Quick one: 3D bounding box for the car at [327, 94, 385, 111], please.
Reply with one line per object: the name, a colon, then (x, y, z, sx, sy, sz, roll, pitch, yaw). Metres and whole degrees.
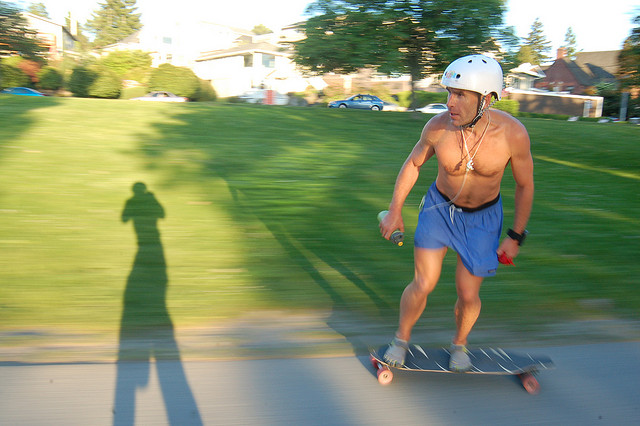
car: (2.588, -7.035, 38.760, 3.404, 0.930, 1.926, 0, 16, 3)

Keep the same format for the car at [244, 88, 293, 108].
car: (-3.104, -7.188, 37.664, 2.977, 0.821, 1.881, 12, 20, 37)

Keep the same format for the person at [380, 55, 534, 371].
person: (1.417, 0.015, 6.028, 1.541, 3.052, 0.943, -2, 21, -2)

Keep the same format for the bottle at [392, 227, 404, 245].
bottle: (0.825, 0.228, 6.197, 0.102, 0.085, 0.349, -31, 16, 14)
